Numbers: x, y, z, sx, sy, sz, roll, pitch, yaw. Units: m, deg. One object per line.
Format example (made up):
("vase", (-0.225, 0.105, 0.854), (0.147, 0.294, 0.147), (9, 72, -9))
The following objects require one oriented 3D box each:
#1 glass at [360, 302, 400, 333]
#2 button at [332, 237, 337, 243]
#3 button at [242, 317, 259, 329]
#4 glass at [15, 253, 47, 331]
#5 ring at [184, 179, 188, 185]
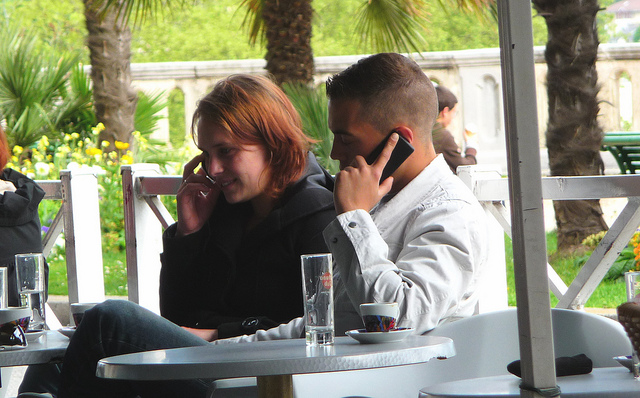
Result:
("glass", (0.402, 0.784, 6.404), (0.278, 0.186, 0.226), (3, -8, -18))
("button", (0.107, 0.282, 6.718), (0.038, 0.037, 0.009), (-2, -6, 5))
("button", (-0.483, 0.873, 6.972), (0.116, 0.054, 0.071), (-3, -2, -3))
("glass", (-2.044, 0.690, 7.010), (0.187, 0.595, 0.179), (-4, -1, -24))
("ring", (-1.020, -0.123, 7.568), (0.011, 0.009, 0.047), (-10, 29, -18))
